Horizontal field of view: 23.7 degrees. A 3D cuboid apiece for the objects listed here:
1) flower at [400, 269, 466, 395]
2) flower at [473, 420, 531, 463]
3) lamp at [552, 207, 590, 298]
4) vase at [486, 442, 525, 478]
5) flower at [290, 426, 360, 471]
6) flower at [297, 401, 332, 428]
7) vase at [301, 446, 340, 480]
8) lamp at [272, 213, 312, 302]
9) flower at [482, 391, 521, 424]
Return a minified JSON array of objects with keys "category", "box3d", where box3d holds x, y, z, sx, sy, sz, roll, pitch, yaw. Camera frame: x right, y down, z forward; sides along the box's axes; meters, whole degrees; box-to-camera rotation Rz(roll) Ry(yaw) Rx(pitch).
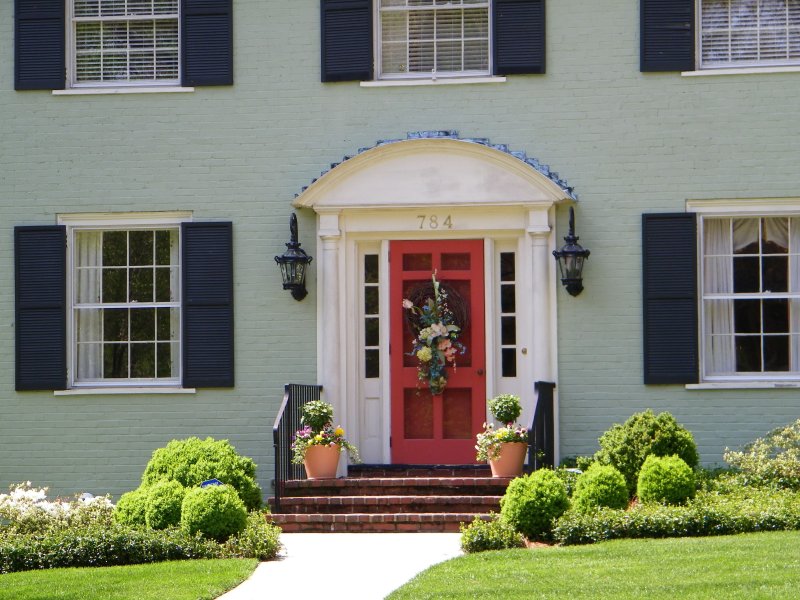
[{"category":"flower","box3d":[0.440,0.394,22.921,0.748,1.434,0.288,-1,-5,-1]},{"category":"flower","box3d":[1.143,1.612,21.964,0.515,0.347,0.501,1,-7,-10]},{"category":"lamp","box3d":[2.048,-0.574,22.642,0.431,1.053,0.427,-2,-5,6]},{"category":"vase","box3d":[1.259,1.813,21.745,0.402,0.286,0.395,0,-6,0]},{"category":"flower","box3d":[-0.744,1.610,22.086,0.593,0.361,0.472,4,15,17]},{"category":"flower","box3d":[-0.942,1.312,22.060,0.312,0.262,0.309,-1,-1,10]},{"category":"vase","box3d":[-0.875,1.863,22.003,0.397,0.276,0.374,4,-10,-17]},{"category":"lamp","box3d":[-1.218,-0.534,22.911,0.411,1.054,0.382,-1,-5,-2]},{"category":"flower","box3d":[1.217,1.238,22.067,0.349,0.336,0.339,1,3,-1]}]
